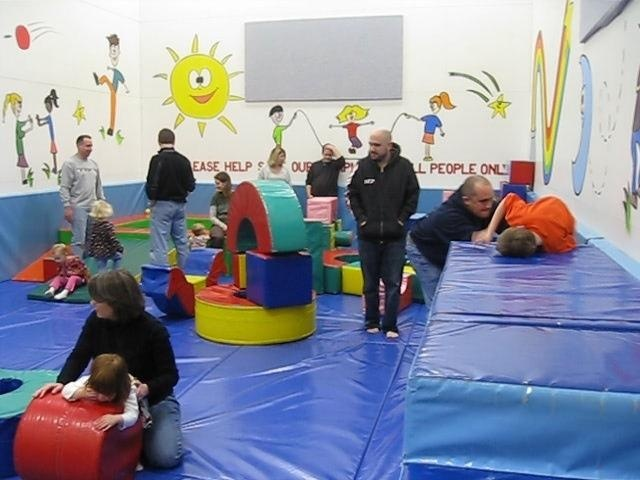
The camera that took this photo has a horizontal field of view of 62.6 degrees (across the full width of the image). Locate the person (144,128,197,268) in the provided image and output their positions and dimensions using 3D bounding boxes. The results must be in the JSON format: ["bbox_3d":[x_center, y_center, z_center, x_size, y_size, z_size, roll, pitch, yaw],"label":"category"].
[{"bbox_3d":[-1.923,-0.510,6.837,0.588,1.806,0.387,-4,10,-22],"label":"person"}]

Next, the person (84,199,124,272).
[{"bbox_3d":[-2.710,-0.004,6.607,0.421,1.007,0.914,-4,11,-22],"label":"person"}]

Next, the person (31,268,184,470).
[{"bbox_3d":[-1.077,0.728,3.418,1.039,1.378,0.980,0,2,18],"label":"person"}]

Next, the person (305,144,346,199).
[{"bbox_3d":[0.131,-1.216,9.350,0.738,0.919,0.481,-4,10,-20],"label":"person"}]

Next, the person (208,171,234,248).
[{"bbox_3d":[-1.513,-0.456,7.943,0.354,1.112,0.654,-2,10,-10],"label":"person"}]

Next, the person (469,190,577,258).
[{"bbox_3d":[1.597,-0.131,4.108,0.856,0.409,0.627,-7,12,-35],"label":"person"}]
